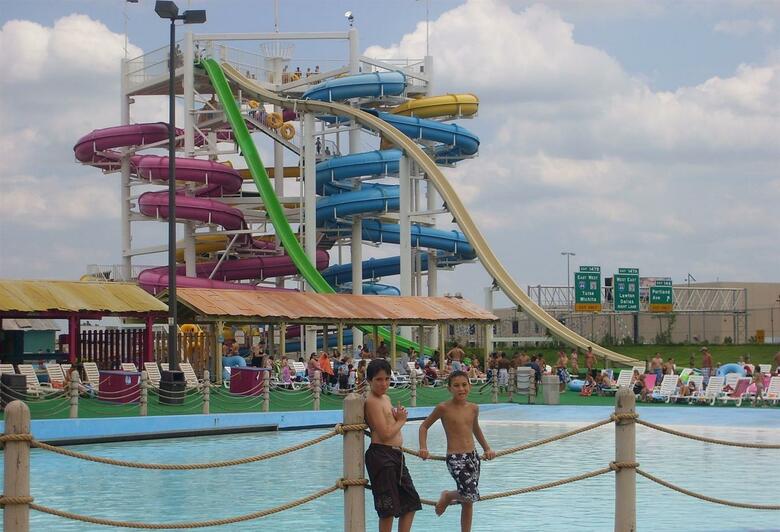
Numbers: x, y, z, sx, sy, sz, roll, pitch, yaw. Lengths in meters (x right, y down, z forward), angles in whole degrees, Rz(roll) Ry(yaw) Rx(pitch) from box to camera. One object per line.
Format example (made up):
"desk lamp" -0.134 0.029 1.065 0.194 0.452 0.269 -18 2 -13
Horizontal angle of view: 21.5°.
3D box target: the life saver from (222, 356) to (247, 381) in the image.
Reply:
"life saver" -5.971 3.949 78.841 0.918 0.750 0.911 -2 12 13

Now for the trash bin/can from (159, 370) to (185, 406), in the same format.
"trash bin/can" -7.639 4.299 72.046 0.891 1.201 0.776 0 -1 -4

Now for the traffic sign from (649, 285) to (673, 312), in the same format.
"traffic sign" 14.656 1.693 110.739 1.391 1.333 0.498 0 -1 -21
